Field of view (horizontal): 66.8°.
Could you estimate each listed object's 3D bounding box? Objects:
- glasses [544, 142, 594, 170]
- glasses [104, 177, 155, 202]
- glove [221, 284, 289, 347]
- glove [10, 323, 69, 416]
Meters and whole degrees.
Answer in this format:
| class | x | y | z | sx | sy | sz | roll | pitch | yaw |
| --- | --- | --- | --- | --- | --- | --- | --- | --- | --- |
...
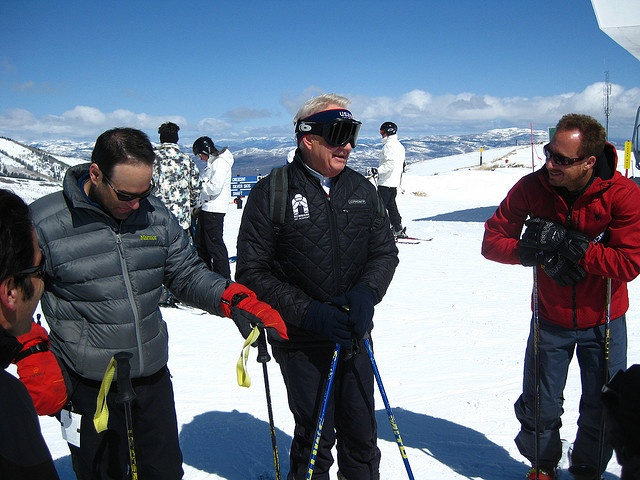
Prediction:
| class | x | y | z | sx | sy | sz | roll | pitch | yaw |
| --- | --- | --- | --- | --- | --- | --- | --- | --- | --- |
| glasses | 1.757 | -0.627 | 3.559 | 0.218 | 0.161 | 0.383 | -5 | 13 | -13 |
| glasses | -1.175 | -0.324 | 3.034 | 0.308 | 0.158 | 0.184 | -14 | 17 | -42 |
| glove | -0.438 | 0.441 | 3.194 | 0.547 | 0.230 | 0.398 | 24 | 9 | 9 |
| glove | -1.658 | 0.786 | 2.890 | 0.315 | 0.582 | 0.210 | 9 | 22 | 8 |
